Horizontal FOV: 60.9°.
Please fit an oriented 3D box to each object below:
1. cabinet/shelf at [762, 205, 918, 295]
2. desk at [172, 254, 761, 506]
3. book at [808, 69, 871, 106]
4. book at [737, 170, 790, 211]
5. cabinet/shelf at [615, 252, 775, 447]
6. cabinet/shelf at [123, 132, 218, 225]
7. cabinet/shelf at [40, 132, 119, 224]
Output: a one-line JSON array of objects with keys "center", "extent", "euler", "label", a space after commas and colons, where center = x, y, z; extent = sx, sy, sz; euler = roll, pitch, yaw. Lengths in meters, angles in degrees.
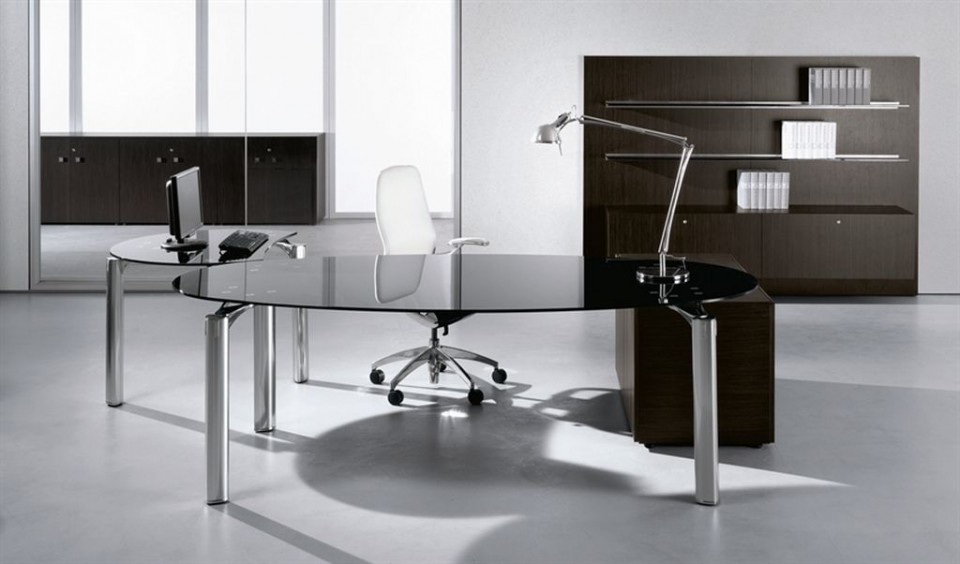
[{"center": [4.395, -0.224, 9.555], "extent": [1.090, 0.904, 1.964], "euler": [15, -7, -31], "label": "cabinet/shelf"}, {"center": [-0.211, 0.623, 5.627], "extent": [3.531, 1.440, 1.378], "euler": [1, 10, 0], "label": "desk"}, {"center": [4.098, -2.220, 9.295], "extent": [0.685, 0.433, 0.129], "euler": [0, 10, -3], "label": "book"}, {"center": [3.270, -1.033, 9.386], "extent": [0.535, 0.366, 0.510], "euler": [0, 6, 5], "label": "book"}, {"center": [1.469, 0.437, 6.337], "extent": [1.166, 1.234, 2.049], "euler": [-2, 5, -1], "label": "cabinet/shelf"}, {"center": [-3.747, -1.217, 10.298], "extent": [0.525, 1.197, 1.442], "euler": [22, 15, 23], "label": "cabinet/shelf"}, {"center": [-4.785, -1.268, 9.652], "extent": [1.175, 1.216, 0.693], "euler": [0, 3, -5], "label": "cabinet/shelf"}]
